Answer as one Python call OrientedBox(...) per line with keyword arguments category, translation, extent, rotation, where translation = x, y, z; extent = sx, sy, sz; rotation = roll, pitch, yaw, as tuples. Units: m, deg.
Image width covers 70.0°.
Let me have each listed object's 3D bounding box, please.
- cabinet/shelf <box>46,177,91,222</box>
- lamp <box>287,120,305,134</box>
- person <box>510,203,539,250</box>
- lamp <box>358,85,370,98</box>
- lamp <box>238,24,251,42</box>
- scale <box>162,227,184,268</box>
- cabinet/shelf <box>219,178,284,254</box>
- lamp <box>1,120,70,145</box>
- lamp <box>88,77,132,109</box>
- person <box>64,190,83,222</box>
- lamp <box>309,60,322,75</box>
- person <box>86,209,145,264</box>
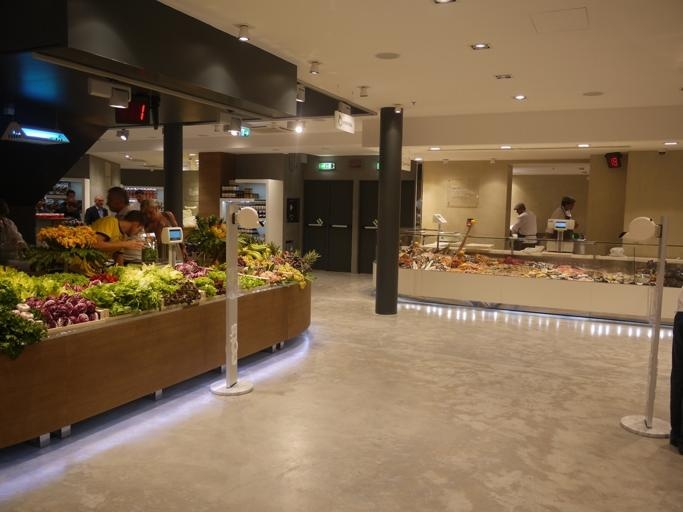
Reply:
OrientedBox(category="cabinet/shelf", translation=(-7.250, -1.439, 12.775), extent=(0.512, 1.393, 1.459), rotation=(1, 0, 8))
OrientedBox(category="lamp", translation=(-0.769, -2.114, 7.882), extent=(0.238, 0.185, 0.439), rotation=(0, 8, -7))
OrientedBox(category="person", translation=(3.885, -0.664, 10.403), extent=(0.529, 0.832, 2.325), rotation=(4, 8, 19))
OrientedBox(category="lamp", translation=(0.341, -2.549, 7.567), extent=(0.145, 0.132, 0.147), rotation=(1, 4, -1))
OrientedBox(category="lamp", translation=(-1.090, -2.504, 5.438), extent=(0.155, 0.156, 0.148), rotation=(4, -20, -23))
OrientedBox(category="scale", translation=(-2.251, -0.127, 6.417), extent=(0.247, 0.539, 0.937), rotation=(-2, 9, -20))
OrientedBox(category="cabinet/shelf", translation=(-2.477, -1.204, 13.765), extent=(1.574, 1.880, 0.858), rotation=(3, 8, 15))
OrientedBox(category="lamp", translation=(-4.709, -1.836, 7.364), extent=(0.412, 0.187, 0.628), rotation=(9, 4, 21))
OrientedBox(category="lamp", translation=(-2.573, -1.811, 5.426), extent=(0.345, 0.296, 0.611), rotation=(-1, 8, -16))
OrientedBox(category="person", translation=(-7.292, -1.327, 13.122), extent=(0.427, 0.855, 2.250), rotation=(-3, 9, -28))
OrientedBox(category="lamp", translation=(-0.358, -2.503, 6.497), extent=(0.140, 0.133, 0.140), rotation=(1, 2, -12))
OrientedBox(category="person", translation=(-2.901, -0.226, 6.292), extent=(0.609, 0.718, 0.689), rotation=(-3, 9, -28))
